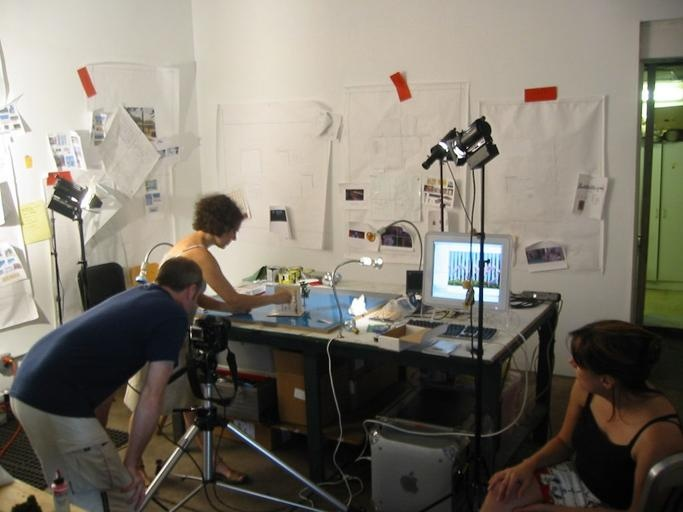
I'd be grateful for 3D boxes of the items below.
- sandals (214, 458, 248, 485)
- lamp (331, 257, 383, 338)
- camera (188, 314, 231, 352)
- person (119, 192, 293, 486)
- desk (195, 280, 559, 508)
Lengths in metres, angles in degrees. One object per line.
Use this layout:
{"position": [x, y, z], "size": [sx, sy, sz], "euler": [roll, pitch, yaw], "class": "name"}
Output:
{"position": [-0.651, 1.256, 3.353], "size": [0.252, 0.110, 0.090], "euler": [5, 8, 25], "class": "sandals"}
{"position": [0.096, 0.251, 3.327], "size": [0.310, 0.536, 0.100], "euler": [-6, 25, -2], "class": "lamp"}
{"position": [-0.646, 0.367, 2.751], "size": [0.201, 0.196, 0.199], "euler": [8, -8, -9], "class": "camera"}
{"position": [-0.871, 0.370, 3.881], "size": [1.045, 1.740, 0.555], "euler": [7, 37, 0], "class": "person"}
{"position": [0.619, 0.542, 3.372], "size": [1.248, 0.839, 1.290], "euler": [3, 8, 32], "class": "desk"}
